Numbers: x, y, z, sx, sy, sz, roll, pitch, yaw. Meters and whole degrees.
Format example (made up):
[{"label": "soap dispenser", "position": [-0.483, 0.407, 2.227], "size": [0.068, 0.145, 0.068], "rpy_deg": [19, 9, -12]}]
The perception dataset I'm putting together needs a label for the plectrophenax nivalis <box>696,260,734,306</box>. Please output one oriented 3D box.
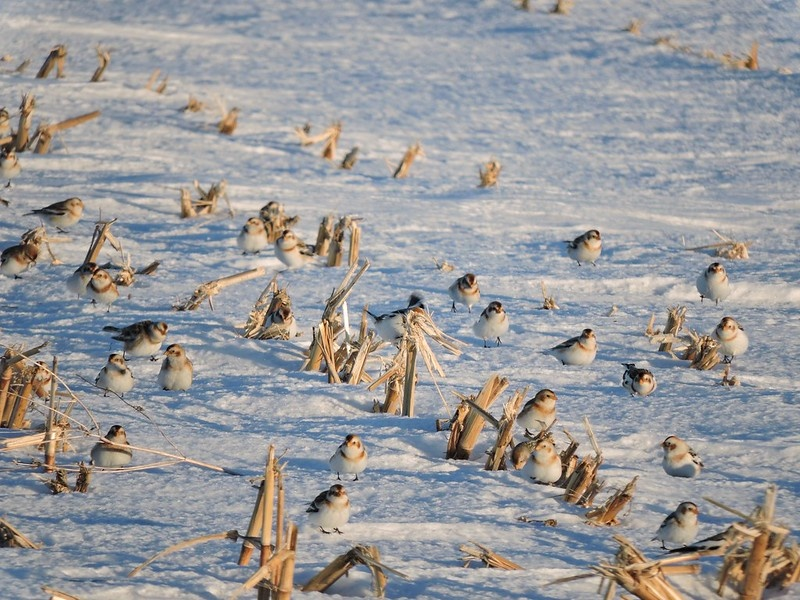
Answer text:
[{"label": "plectrophenax nivalis", "position": [4.122, -0.218, 15.791], "size": [0.508, 0.523, 0.730], "rpy_deg": [10, 8, 11]}]
